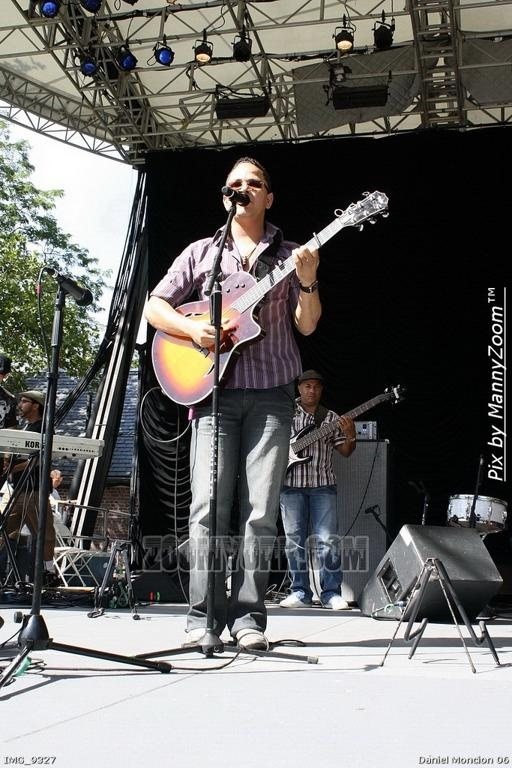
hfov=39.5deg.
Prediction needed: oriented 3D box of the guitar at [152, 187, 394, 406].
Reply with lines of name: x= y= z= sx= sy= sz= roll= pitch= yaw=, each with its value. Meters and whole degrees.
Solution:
guitar: x=0.005 y=-0.223 z=2.850 sx=1.322 sy=0.507 sz=0.157 roll=-44 pitch=-22 yaw=10

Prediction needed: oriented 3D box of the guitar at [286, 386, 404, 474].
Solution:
guitar: x=0.683 y=0.329 z=5.935 sx=0.862 sy=0.732 sz=0.681 roll=0 pitch=3 yaw=-3

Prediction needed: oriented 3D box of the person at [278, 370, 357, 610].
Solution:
person: x=0.457 y=0.767 z=5.452 sx=0.668 sy=1.784 sz=0.631 roll=-1 pitch=-12 yaw=2

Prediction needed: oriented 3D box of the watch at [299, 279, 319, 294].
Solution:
watch: x=0.191 y=-0.351 z=2.604 sx=0.053 sy=0.020 sz=0.049 roll=-3 pitch=-4 yaw=-42

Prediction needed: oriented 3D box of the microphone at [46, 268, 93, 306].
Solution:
microphone: x=-0.586 y=-0.301 z=2.343 sx=0.066 sy=0.070 sz=0.224 roll=19 pitch=-6 yaw=24

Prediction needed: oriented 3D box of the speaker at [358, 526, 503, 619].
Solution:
speaker: x=0.781 y=0.831 z=3.098 sx=0.441 sy=0.406 sz=0.450 roll=16 pitch=-38 yaw=-20

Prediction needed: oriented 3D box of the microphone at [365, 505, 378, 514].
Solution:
microphone: x=0.924 y=1.011 z=5.761 sx=0.091 sy=0.065 sz=0.175 roll=-2 pitch=-7 yaw=17

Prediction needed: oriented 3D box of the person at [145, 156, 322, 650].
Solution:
person: x=-0.063 y=0.034 z=2.616 sx=0.803 sy=1.837 sz=0.693 roll=-2 pitch=-10 yaw=21
